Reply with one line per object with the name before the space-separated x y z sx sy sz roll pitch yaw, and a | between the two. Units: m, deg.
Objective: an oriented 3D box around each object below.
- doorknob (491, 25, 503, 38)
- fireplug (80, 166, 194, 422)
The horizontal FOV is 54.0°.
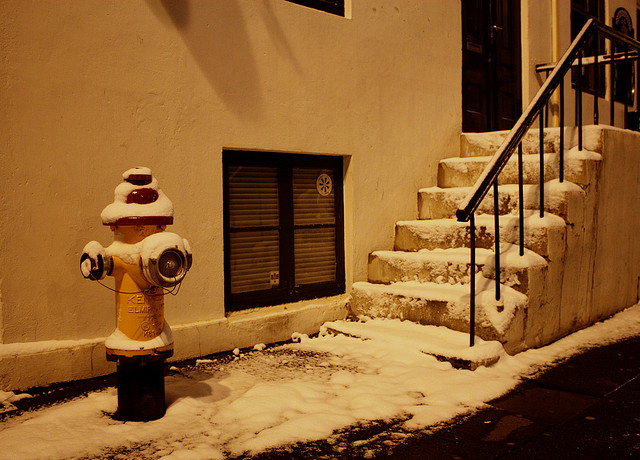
doorknob | 2.318 -2.621 8.317 0.183 0.161 0.037 -14 19 -43
fireplug | -1.311 0.442 4.585 0.605 1.720 0.638 12 18 41
